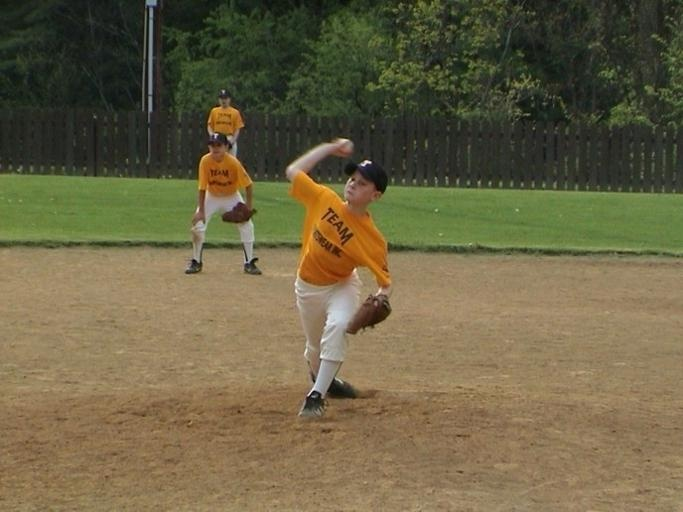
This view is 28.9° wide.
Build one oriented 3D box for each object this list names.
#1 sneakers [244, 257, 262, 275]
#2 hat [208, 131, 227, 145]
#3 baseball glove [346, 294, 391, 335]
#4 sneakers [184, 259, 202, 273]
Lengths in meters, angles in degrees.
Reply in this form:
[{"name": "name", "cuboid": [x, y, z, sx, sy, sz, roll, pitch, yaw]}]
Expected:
[{"name": "sneakers", "cuboid": [-1.628, 0.184, 24.386, 0.341, 0.294, 0.295, 4, 5, -1]}, {"name": "hat", "cuboid": [-2.240, -2.132, 24.197, 0.332, 0.215, 0.369, 3, 6, -7]}, {"name": "baseball glove", "cuboid": [0.421, 0.894, 19.770, 0.460, 0.704, 0.262, 45, 3, -12]}, {"name": "sneakers", "cuboid": [-2.687, 0.188, 24.228, 0.402, 0.272, 0.229, 0, 6, -33]}]
